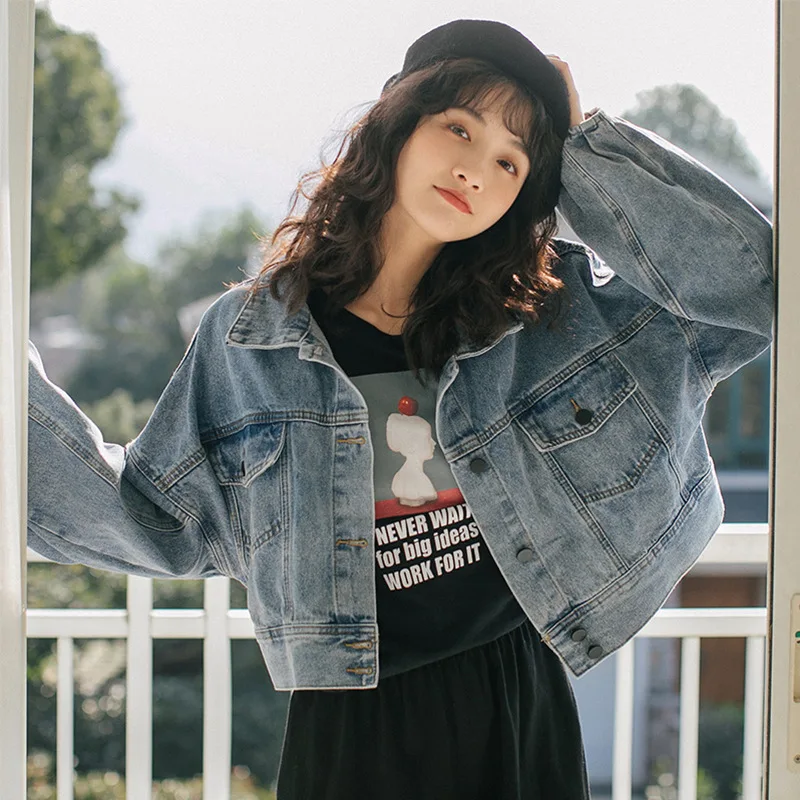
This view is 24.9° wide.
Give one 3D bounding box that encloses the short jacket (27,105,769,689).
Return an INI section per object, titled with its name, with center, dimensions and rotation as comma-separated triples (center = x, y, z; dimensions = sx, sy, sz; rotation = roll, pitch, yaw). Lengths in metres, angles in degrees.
[short jacket]
center = -0.033, 0.031, 3.024
dimensions = 1.458, 0.830, 0.330
rotation = -8, 1, 12
